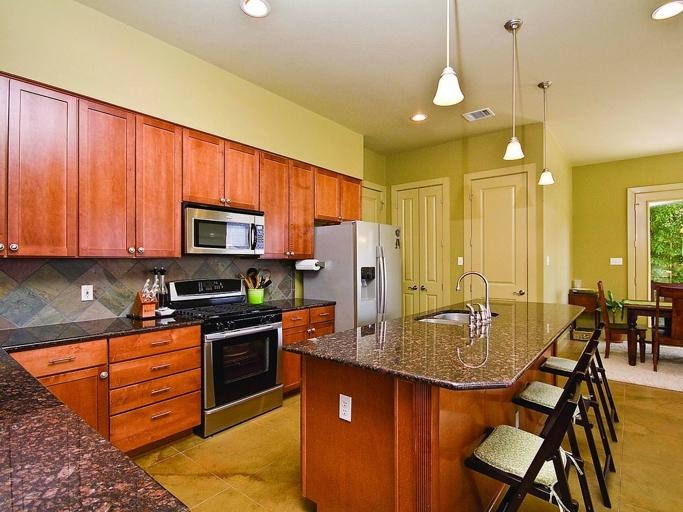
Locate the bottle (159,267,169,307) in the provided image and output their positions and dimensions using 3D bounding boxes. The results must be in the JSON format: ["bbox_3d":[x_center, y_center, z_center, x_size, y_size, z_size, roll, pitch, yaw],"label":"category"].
[{"bbox_3d":[-1.529,0.263,4.129,0.081,0.326,0.281,-5,12,-20],"label":"bottle"}]

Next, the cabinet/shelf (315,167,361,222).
[{"bbox_3d":[-0.127,-0.674,5.634,0.264,0.561,0.892,1,-1,38],"label":"cabinet/shelf"}]

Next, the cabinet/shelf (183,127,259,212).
[{"bbox_3d":[-1.140,-0.738,4.458,0.744,0.613,0.299,5,-9,-43],"label":"cabinet/shelf"}]

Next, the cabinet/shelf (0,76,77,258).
[{"bbox_3d":[-2.129,-0.623,3.439,0.512,1.241,0.264,-7,13,-28],"label":"cabinet/shelf"}]

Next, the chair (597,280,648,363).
[{"bbox_3d":[3.370,0.810,5.831,0.399,0.767,0.463,21,-18,-37],"label":"chair"}]

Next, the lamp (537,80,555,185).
[{"bbox_3d":[2.012,-1.221,4.774,0.157,0.989,0.161,0,14,27],"label":"lamp"}]

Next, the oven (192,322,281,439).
[{"bbox_3d":[-1.015,0.985,4.336,0.669,0.934,0.869,5,7,36],"label":"oven"}]

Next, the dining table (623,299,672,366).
[{"bbox_3d":[3.543,0.877,5.769,0.732,0.702,0.684,-3,-7,35],"label":"dining table"}]

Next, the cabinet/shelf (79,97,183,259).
[{"bbox_3d":[-1.663,-0.593,3.814,0.839,1.239,0.330,-7,13,-29],"label":"cabinet/shelf"}]

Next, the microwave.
[{"bbox_3d":[-1.100,-0.201,4.451,0.761,0.464,0.427,2,-1,-36],"label":"microwave"}]

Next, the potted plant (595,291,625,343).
[{"bbox_3d":[3.374,0.755,5.951,0.375,0.787,0.357,9,-12,-43],"label":"potted plant"}]

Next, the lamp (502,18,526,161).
[{"bbox_3d":[1.482,-1.434,4.152,0.176,1.128,0.180,0,14,20],"label":"lamp"}]

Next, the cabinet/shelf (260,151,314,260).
[{"bbox_3d":[-0.661,-0.472,5.028,0.323,1.032,0.718,-1,-3,39],"label":"cabinet/shelf"}]
